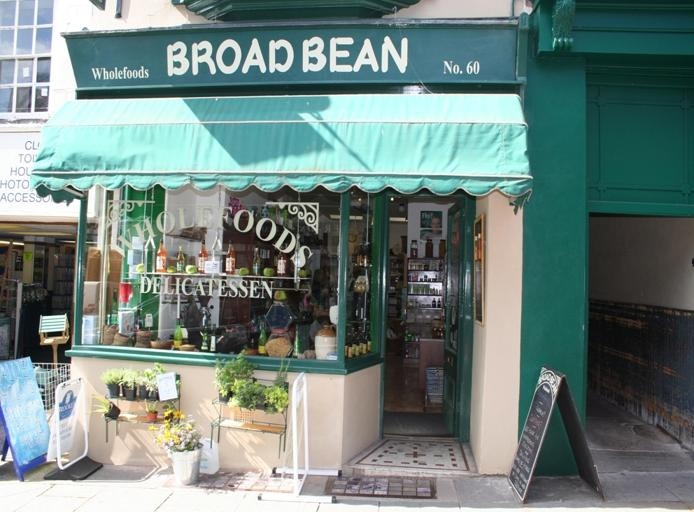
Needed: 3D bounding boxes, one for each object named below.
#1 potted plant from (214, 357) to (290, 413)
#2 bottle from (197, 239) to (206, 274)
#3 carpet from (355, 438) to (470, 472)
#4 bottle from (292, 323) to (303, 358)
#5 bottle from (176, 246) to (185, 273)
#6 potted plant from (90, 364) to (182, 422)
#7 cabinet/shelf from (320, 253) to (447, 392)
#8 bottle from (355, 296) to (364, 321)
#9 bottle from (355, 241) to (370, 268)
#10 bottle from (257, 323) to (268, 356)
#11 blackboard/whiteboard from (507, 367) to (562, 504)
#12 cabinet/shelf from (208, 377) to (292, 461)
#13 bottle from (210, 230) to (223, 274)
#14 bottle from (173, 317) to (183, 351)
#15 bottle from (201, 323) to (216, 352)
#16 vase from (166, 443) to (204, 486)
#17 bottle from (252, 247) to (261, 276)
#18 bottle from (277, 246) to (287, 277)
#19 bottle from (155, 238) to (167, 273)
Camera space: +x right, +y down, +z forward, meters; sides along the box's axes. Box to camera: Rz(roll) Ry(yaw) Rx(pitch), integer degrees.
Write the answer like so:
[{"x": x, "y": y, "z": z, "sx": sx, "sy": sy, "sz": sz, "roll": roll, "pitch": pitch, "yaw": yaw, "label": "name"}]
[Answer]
[{"x": -1.337, "y": 1.739, "z": 8.451, "sx": 1.038, "sy": 0.656, "sz": 0.661, "roll": 0, "pitch": 11, "yaw": 0, "label": "potted plant"}, {"x": -2.219, "y": 0.018, "z": 9.265, "sx": 0.191, "sy": 0.453, "sz": 0.101, "roll": 4, "pitch": 10, "yaw": 23, "label": "bottle"}, {"x": 1.115, "y": 2.940, "z": 8.997, "sx": 1.506, "sy": 0.053, "sz": 1.823, "roll": -1, "pitch": -4, "yaw": 15, "label": "carpet"}, {"x": -0.728, "y": 1.233, "z": 8.817, "sx": 0.153, "sy": 0.413, "sz": 0.249, "roll": -1, "pitch": 10, "yaw": -5, "label": "bottle"}, {"x": -2.573, "y": 0.070, "z": 9.339, "sx": 0.133, "sy": 0.377, "sz": 0.073, "roll": -1, "pitch": 10, "yaw": -3, "label": "bottle"}, {"x": -2.974, "y": 1.985, "z": 8.649, "sx": 0.702, "sy": 0.796, "sz": 0.269, "roll": 1, "pitch": 6, "yaw": 5, "label": "potted plant"}, {"x": 0.743, "y": 1.214, "z": 10.842, "sx": 2.287, "sy": 2.571, "sz": 0.853, "roll": 0, "pitch": -4, "yaw": 23, "label": "cabinet/shelf"}, {"x": 0.194, "y": 0.772, "z": 9.117, "sx": 0.070, "sy": 0.366, "sz": 0.264, "roll": 5, "pitch": 12, "yaw": 29, "label": "bottle"}, {"x": 0.242, "y": -0.003, "z": 9.170, "sx": 0.016, "sy": 0.407, "sz": 0.344, "roll": 7, "pitch": 13, "yaw": 39, "label": "bottle"}, {"x": -1.239, "y": 1.209, "z": 8.899, "sx": 0.142, "sy": 0.423, "sz": 0.200, "roll": 0, "pitch": 10, "yaw": 2, "label": "bottle"}, {"x": 2.439, "y": 2.308, "z": 7.976, "sx": 0.731, "sy": 1.585, "sz": 0.479, "roll": -6, "pitch": 11, "yaw": -30, "label": "blackboard/whiteboard"}, {"x": -1.312, "y": 2.291, "z": 8.430, "sx": 1.002, "sy": 1.129, "sz": 0.363, "roll": 1, "pitch": -6, "yaw": 9, "label": "cabinet/shelf"}, {"x": -1.986, "y": -0.045, "z": 9.214, "sx": 0.162, "sy": 0.625, "sz": 0.163, "roll": 0, "pitch": 10, "yaw": 0, "label": "bottle"}, {"x": -2.552, "y": 1.171, "z": 9.122, "sx": 0.135, "sy": 0.410, "sz": 0.247, "roll": -3, "pitch": 10, "yaw": -16, "label": "bottle"}, {"x": -2.058, "y": 1.210, "z": 8.994, "sx": 0.243, "sy": 0.342, "sz": 0.217, "roll": 0, "pitch": 10, "yaw": 2, "label": "bottle"}, {"x": -2.190, "y": 2.839, "z": 8.301, "sx": 0.461, "sy": 0.486, "sz": 0.487, "roll": 0, "pitch": -1, "yaw": -36, "label": "vase"}, {"x": -1.358, "y": 0.092, "z": 9.064, "sx": 0.128, "sy": 0.394, "sz": 0.072, "roll": 1, "pitch": 10, "yaw": 9, "label": "bottle"}, {"x": -0.967, "y": 0.104, "z": 9.024, "sx": 0.155, "sy": 0.374, "sz": 0.083, "roll": -1, "pitch": 10, "yaw": -1, "label": "bottle"}, {"x": -2.876, "y": 0.017, "z": 9.372, "sx": 0.178, "sy": 0.478, "sz": 0.092, "roll": 1, "pitch": 10, "yaw": 5, "label": "bottle"}]
